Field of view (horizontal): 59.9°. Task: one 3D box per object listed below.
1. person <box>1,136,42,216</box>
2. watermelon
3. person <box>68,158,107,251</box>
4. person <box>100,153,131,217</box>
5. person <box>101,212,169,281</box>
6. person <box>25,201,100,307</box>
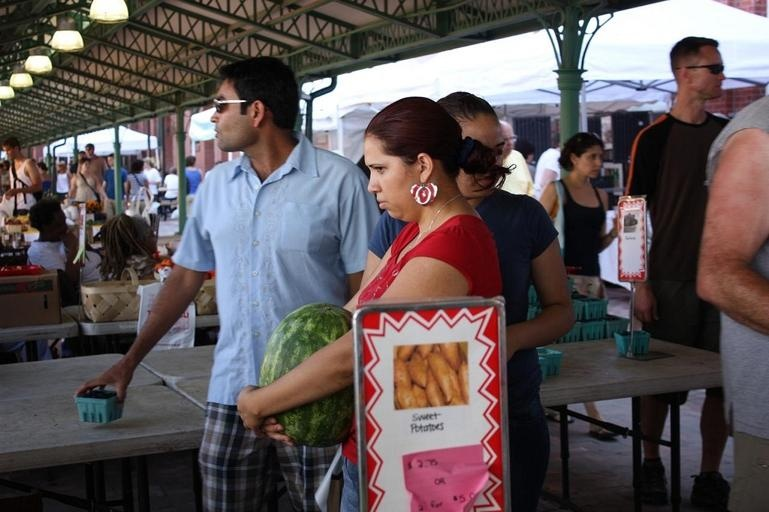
[{"bbox_3d":[-6.862,-1.504,12.397,0.725,1.470,1.958,-8,10,-29],"label":"person"},{"bbox_3d":[-0.252,0.400,2.153,0.311,0.452,0.213,-4,8,-4],"label":"watermelon"},{"bbox_3d":[-7.418,-1.216,16.435,0.826,2.396,0.685,-2,14,-23],"label":"person"},{"bbox_3d":[-9.303,-2.117,22.828,0.813,2.645,0.700,-5,19,-34],"label":"person"},{"bbox_3d":[-2.529,-0.053,6.586,0.527,0.775,0.756,-4,-2,-36],"label":"person"},{"bbox_3d":[-3.713,0.107,7.764,0.840,1.467,0.716,-5,13,-23],"label":"person"}]
